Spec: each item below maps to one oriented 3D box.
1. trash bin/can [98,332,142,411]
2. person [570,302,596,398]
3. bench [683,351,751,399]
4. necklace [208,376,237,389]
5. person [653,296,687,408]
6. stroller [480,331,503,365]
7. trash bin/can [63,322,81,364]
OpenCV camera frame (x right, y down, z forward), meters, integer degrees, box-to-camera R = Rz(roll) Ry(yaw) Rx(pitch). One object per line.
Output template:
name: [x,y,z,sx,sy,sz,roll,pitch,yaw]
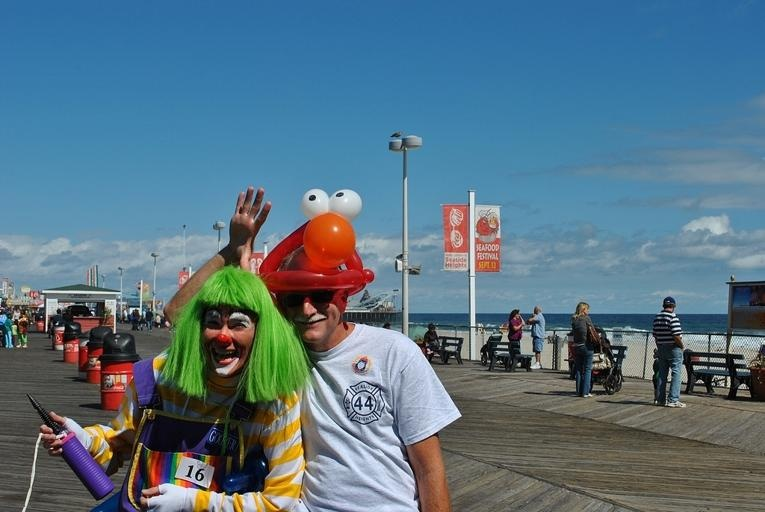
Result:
trash bin/can: [-4.584,1.984,13.360,0.764,1.261,0.835,-1,-2,-17]
person: [4.246,1.923,15.983,0.743,1.929,0.723,2,-2,-42]
bench: [7.329,2.537,16.978,1.319,0.917,2.365,0,-3,21]
necklace: [-1.032,0.779,4.935,0.109,0.087,0.116,6,1,31]
person: [5.422,1.762,14.410,0.556,2.045,0.686,2,-2,-22]
stroller: [3.183,2.684,22.599,0.570,0.593,0.948,1,-3,0]
trash bin/can: [-9.873,2.735,24.202,0.668,1.222,0.684,-12,-12,35]
